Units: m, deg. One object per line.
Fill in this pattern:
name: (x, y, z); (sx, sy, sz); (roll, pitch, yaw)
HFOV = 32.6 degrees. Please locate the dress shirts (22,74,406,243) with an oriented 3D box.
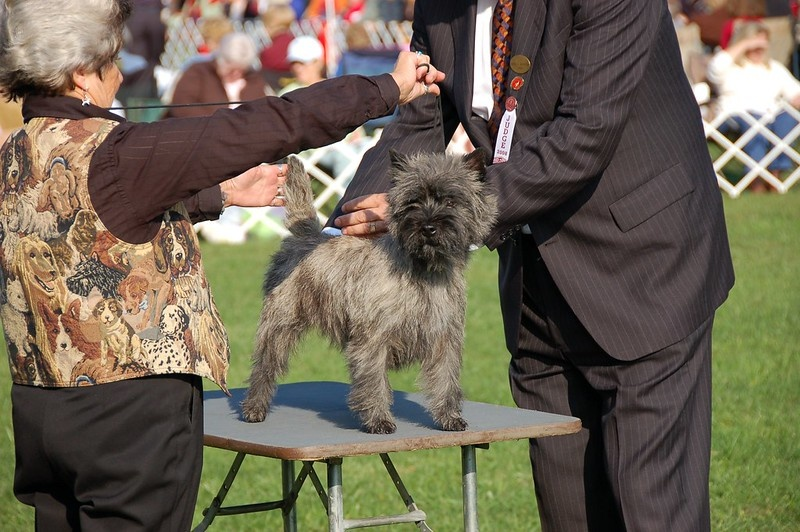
dress shirts: (-0.905, -0.725, 7.677); (1.587, 0.577, 0.971); (-13, 13, -25)
